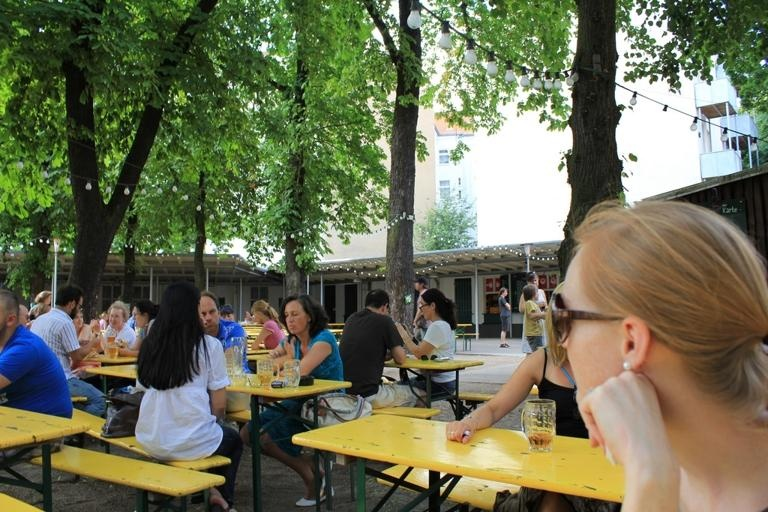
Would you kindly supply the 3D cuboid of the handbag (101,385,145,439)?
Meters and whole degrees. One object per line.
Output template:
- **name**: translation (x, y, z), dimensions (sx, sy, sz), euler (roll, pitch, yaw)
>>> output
- **handbag**: translation (-2.779, 1.687, 7.495), dimensions (0.498, 0.419, 0.350), euler (19, -25, -37)

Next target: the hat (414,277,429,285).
- **hat**: translation (0.691, 0.460, 12.906), dimensions (0.146, 0.197, 0.191), euler (4, 5, -6)

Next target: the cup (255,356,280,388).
- **cup**: translation (-1.268, 1.273, 7.893), dimensions (0.275, 0.437, 0.276), euler (-2, -8, 0)

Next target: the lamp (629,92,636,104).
- **lamp**: translation (4.021, -2.562, 11.422), dimensions (0.112, 0.190, 0.096), euler (-2, -2, 10)
